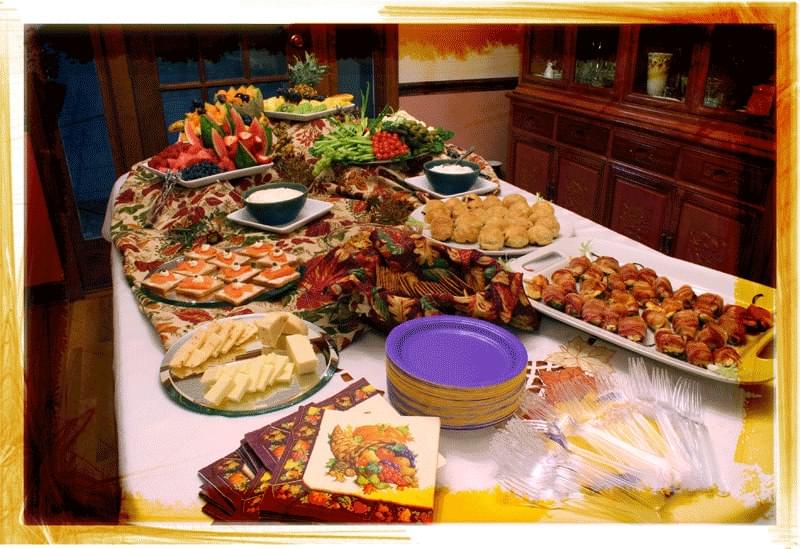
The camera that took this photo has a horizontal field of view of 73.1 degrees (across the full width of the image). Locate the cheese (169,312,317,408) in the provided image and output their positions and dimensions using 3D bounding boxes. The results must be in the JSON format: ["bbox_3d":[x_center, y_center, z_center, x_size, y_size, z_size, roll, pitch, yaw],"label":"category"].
[{"bbox_3d":[-0.412,0.221,1.405,0.309,0.062,0.256,2,33,2],"label":"cheese"}]

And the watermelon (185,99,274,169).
[{"bbox_3d":[-0.824,-0.657,2.581,0.514,0.385,0.315,18,27,34],"label":"watermelon"}]

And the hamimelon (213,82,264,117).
[{"bbox_3d":[-0.871,-0.955,2.930,0.254,0.167,0.282,-4,28,-10],"label":"hamimelon"}]

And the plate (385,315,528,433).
[{"bbox_3d":[0.123,0.221,1.281,0.283,0.098,0.270,0,29,-3],"label":"plate"}]

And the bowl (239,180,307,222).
[{"bbox_3d":[-0.494,-0.327,2.161,0.276,0.150,0.227,-11,26,-32],"label":"bowl"}]

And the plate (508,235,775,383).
[{"bbox_3d":[0.757,0.000,1.700,0.823,0.349,0.616,9,22,25],"label":"plate"}]

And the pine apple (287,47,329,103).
[{"bbox_3d":[-0.603,-1.237,3.419,0.190,0.253,0.143,2,29,-22],"label":"pine apple"}]

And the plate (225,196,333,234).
[{"bbox_3d":[-0.433,-0.235,2.158,0.237,0.038,0.231,7,31,21],"label":"plate"}]
